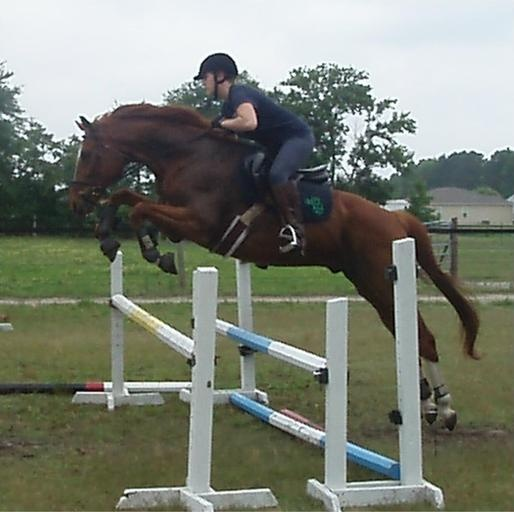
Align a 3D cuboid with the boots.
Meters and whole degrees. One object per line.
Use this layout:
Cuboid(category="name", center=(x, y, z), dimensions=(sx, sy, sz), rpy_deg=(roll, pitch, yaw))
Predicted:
Cuboid(category="boots", center=(0.246, -0.279, 7.416), dimensions=(0.247, 0.522, 0.229), rpy_deg=(-1, 10, -18))
